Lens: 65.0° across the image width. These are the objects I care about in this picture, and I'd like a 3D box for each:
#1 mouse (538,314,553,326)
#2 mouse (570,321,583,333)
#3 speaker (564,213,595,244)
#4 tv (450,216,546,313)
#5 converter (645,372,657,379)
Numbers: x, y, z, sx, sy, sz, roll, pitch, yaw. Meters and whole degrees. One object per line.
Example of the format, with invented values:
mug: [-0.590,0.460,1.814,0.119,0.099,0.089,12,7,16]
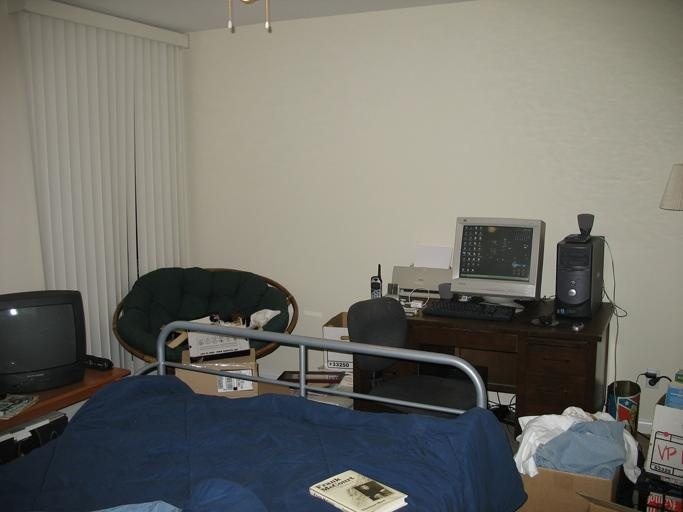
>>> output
mouse: [1.278,0.395,3.298,0.125,0.057,0.098,2,5,3]
mouse: [1.419,0.424,3.219,0.049,0.025,0.071,0,11,35]
speaker: [1.576,-0.177,3.511,0.120,0.138,0.365,3,14,35]
tv: [1.108,0.047,3.770,0.568,0.603,0.370,2,-11,26]
converter: [2.143,0.835,3.710,0.065,0.033,0.021,-1,-12,8]
